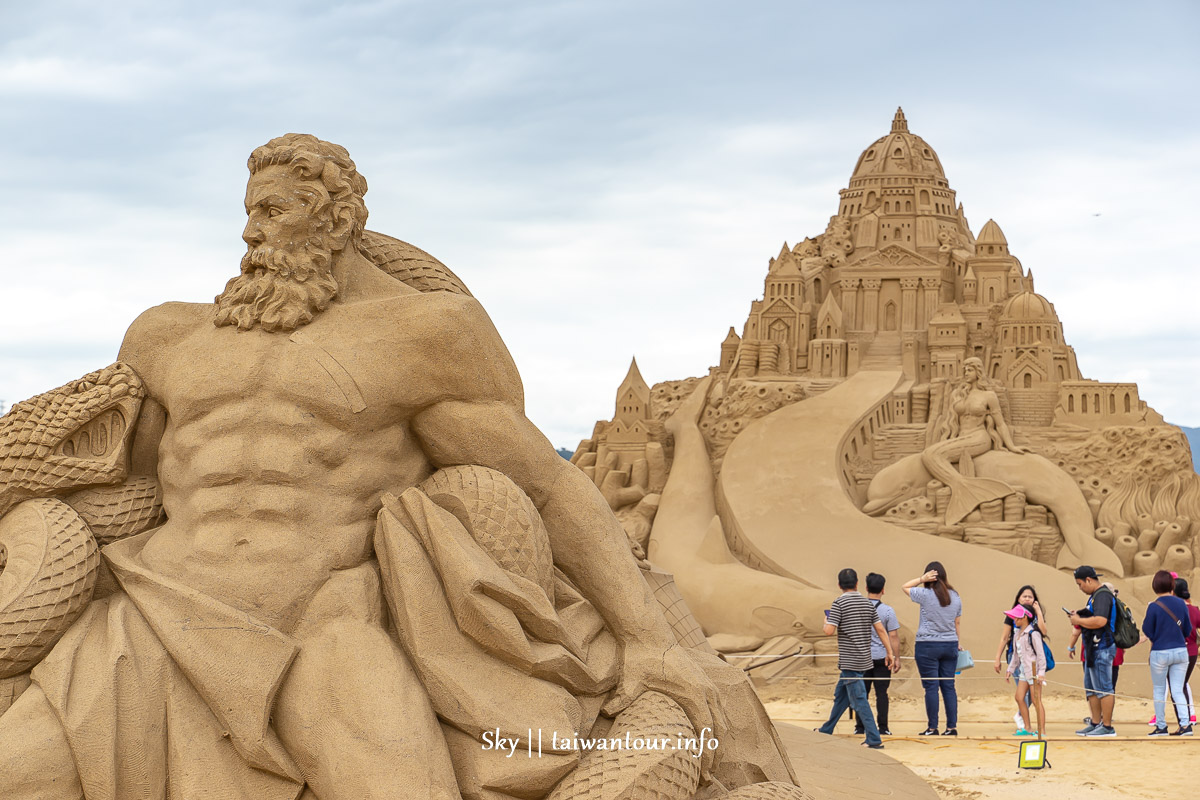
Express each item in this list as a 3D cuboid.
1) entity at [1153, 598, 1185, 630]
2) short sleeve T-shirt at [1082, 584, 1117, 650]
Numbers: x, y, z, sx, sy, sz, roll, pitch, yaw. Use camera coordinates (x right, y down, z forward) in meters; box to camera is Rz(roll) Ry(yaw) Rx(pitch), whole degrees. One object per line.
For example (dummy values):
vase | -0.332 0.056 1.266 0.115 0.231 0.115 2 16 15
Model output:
entity | 4.196 1.579 15.871 0.188 0.223 0.128 -4 -8 16
short sleeve T-shirt | 3.762 1.648 16.124 0.279 0.421 0.446 -1 -16 9
